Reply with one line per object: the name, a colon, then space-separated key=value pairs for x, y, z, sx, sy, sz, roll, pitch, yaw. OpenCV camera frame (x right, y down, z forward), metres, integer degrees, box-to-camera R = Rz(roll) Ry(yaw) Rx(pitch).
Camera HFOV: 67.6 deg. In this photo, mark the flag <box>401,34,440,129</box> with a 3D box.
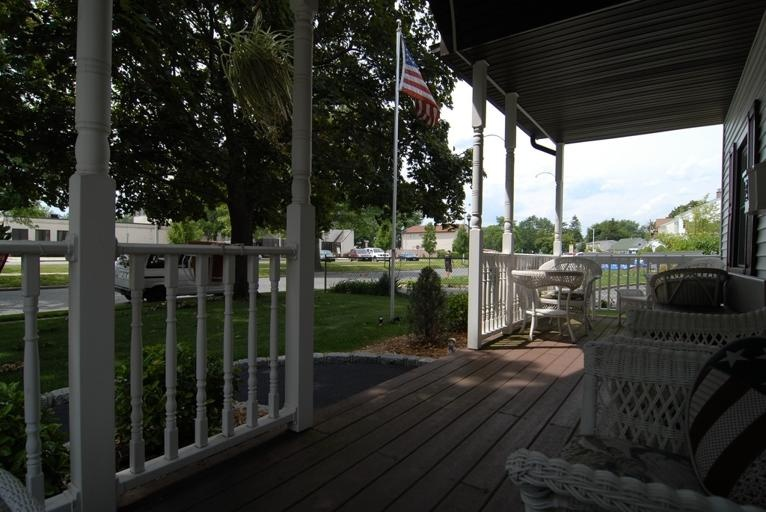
flag: x=0.637 y=-3.091 z=9.948 sx=0.678 sy=1.567 sz=1.050 roll=0 pitch=14 yaw=2
